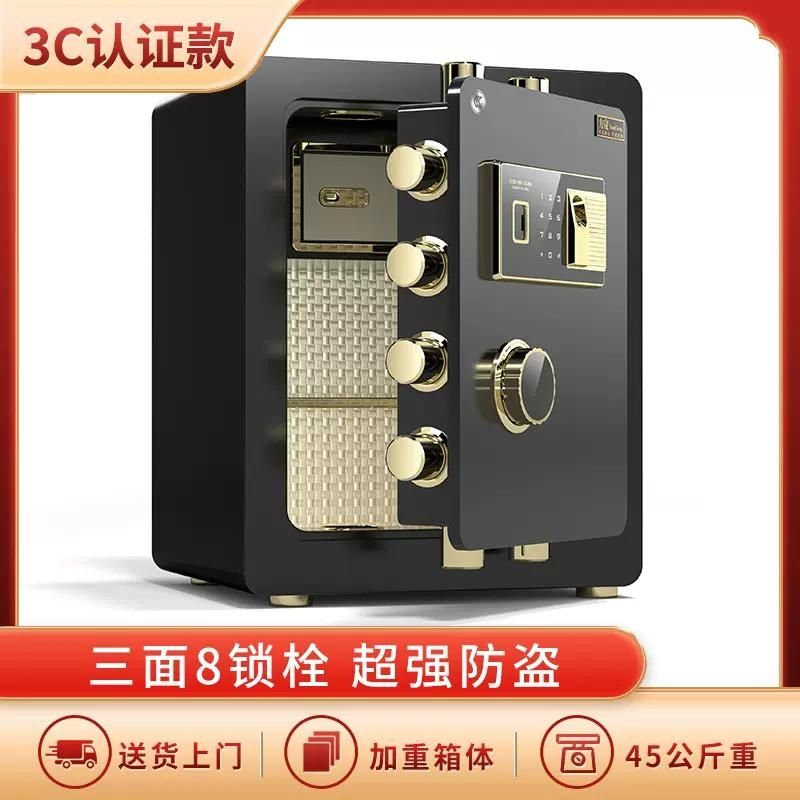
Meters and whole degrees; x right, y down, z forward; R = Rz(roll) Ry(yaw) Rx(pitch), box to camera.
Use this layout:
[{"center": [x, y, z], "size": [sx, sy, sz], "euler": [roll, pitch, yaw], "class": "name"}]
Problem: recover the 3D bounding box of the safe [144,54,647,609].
[{"center": [0.084, -0.067, 0.988], "size": [0.398, 0.494, 0.583], "euler": [-2, 4, 0], "class": "safe"}]
